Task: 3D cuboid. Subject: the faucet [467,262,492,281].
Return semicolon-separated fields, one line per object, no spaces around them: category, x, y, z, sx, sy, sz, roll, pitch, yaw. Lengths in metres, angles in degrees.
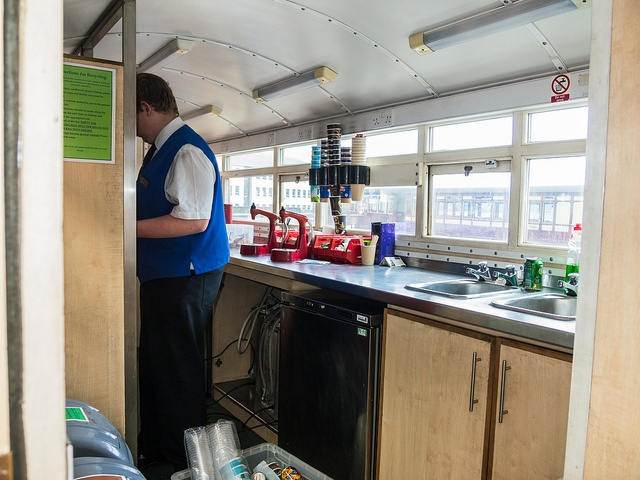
faucet;0.816;0.160;2.531;0.080;0.077;0.147;7;4;34

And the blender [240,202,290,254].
blender;-0.385;-0.057;3.444;0.321;0.323;0.189;1;0;0

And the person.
person;-0.652;0.209;2.423;0.440;1.940;0.375;0;4;-21

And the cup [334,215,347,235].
cup;0.144;-0.108;3.419;0.104;0.144;0.109;-3;5;0

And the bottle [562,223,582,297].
bottle;1.161;0.083;2.280;0.068;0.291;0.068;-1;19;0

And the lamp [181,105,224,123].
lamp;-0.975;-1.092;4.182;0.453;0.086;0.038;-2;34;40

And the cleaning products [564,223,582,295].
cleaning products;1.159;0.082;2.287;0.092;0.291;0.094;10;13;30

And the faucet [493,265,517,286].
faucet;0.909;0.180;2.450;0.111;0.111;0.070;2;4;-9

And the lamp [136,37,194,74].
lamp;-0.916;-1.094;2.894;0.027;0.056;0.356;-11;23;36

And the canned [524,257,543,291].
canned;1.009;0.158;2.305;0.135;0.147;0.077;-1;5;-31

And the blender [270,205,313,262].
blender;-0.171;-0.043;3.323;0.254;0.333;0.574;2;4;0

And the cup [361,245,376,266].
cup;0.308;0.098;3.097;0.094;0.119;0.091;2;4;0
